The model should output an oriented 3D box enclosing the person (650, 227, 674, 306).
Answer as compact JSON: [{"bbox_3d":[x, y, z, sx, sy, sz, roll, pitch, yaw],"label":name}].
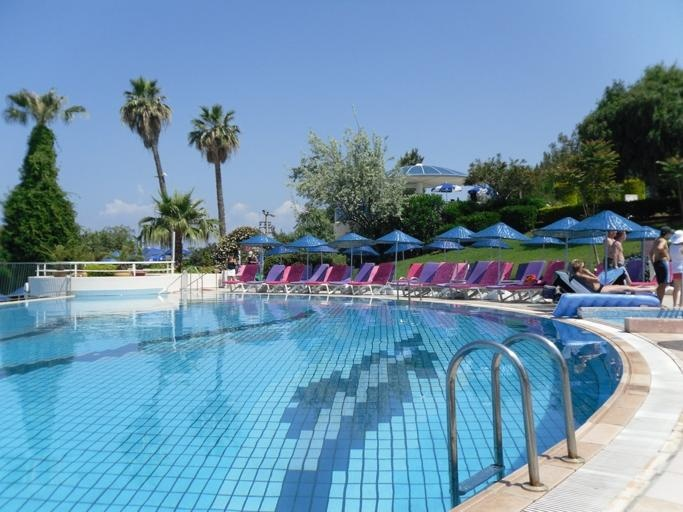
[{"bbox_3d":[7.107,0.204,10.391,0.363,1.754,0.557,-1,0,30],"label":"person"}]
